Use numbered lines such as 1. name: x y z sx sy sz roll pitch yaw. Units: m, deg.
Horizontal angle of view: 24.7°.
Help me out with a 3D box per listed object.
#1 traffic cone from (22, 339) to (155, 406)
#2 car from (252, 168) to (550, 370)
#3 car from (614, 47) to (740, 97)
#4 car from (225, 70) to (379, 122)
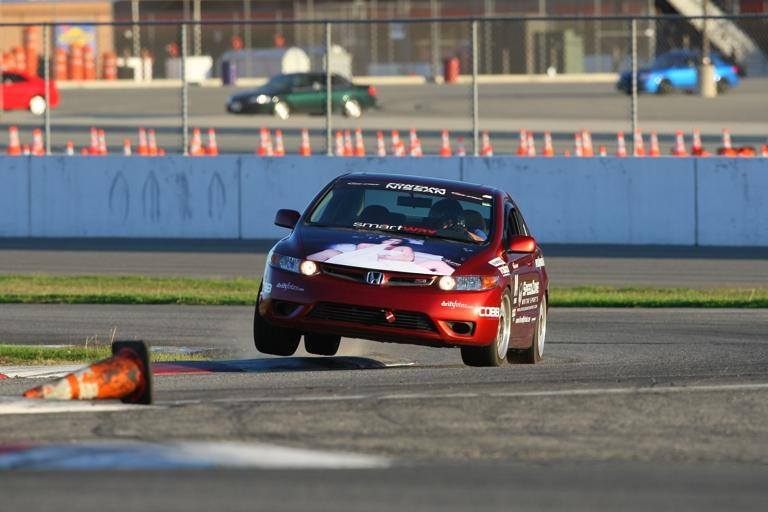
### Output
1. traffic cone: -3.545 1.447 21.573 1.361 0.782 0.374 -1 4 -7
2. car: 0.387 0.152 24.384 2.829 2.307 5.260 1 3 10
3. car: 5.909 -3.732 35.185 2.454 0.800 0.995 1 3 -15
4. car: -1.598 -3.473 36.032 2.675 0.801 1.273 2 3 8
